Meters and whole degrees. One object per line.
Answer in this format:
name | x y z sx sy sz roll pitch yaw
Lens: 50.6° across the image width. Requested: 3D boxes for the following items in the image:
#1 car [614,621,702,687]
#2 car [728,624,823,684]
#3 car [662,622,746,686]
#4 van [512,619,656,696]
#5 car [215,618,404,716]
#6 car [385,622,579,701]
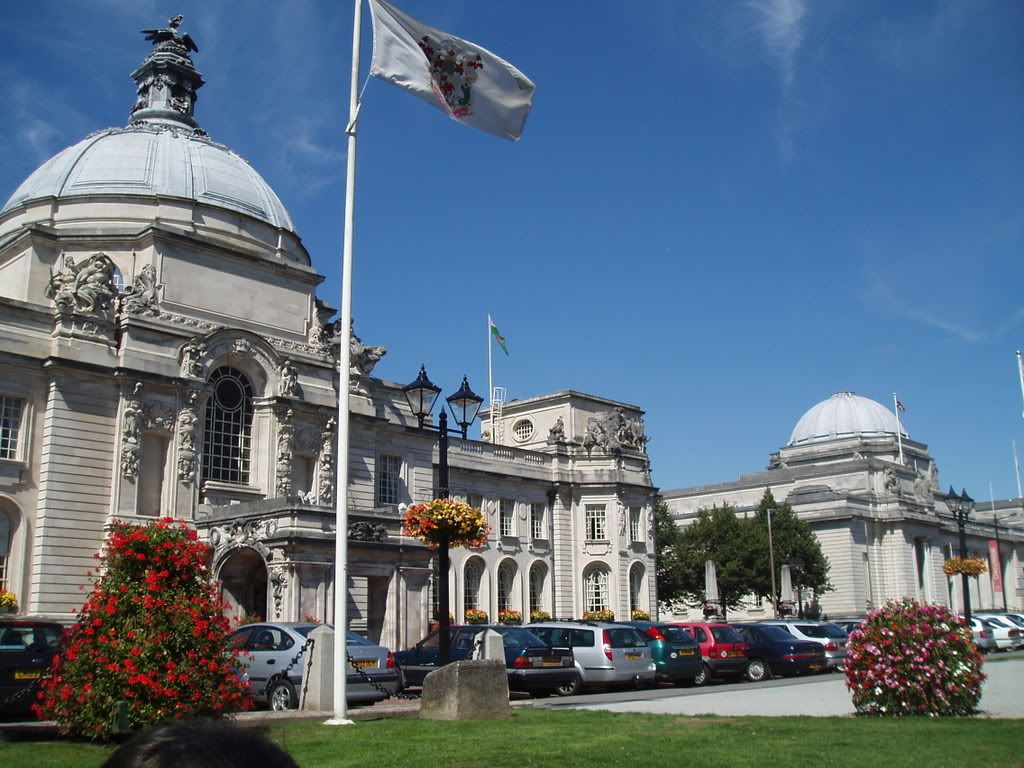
car | 4.265 8.533 33.088 1.997 2.245 2.322 -12 -15 34
car | 8.436 8.772 35.154 3.086 0.994 1.404 -7 -12 42
car | 6.113 8.644 34.464 1.851 2.286 2.148 -12 -14 41
van | 1.903 7.972 31.754 3.813 1.238 1.757 -6 -12 43
car | -4.794 6.814 26.167 3.676 2.177 2.696 4 -18 -15
car | -0.961 7.734 30.608 4.963 1.645 2.300 -8 -17 38
